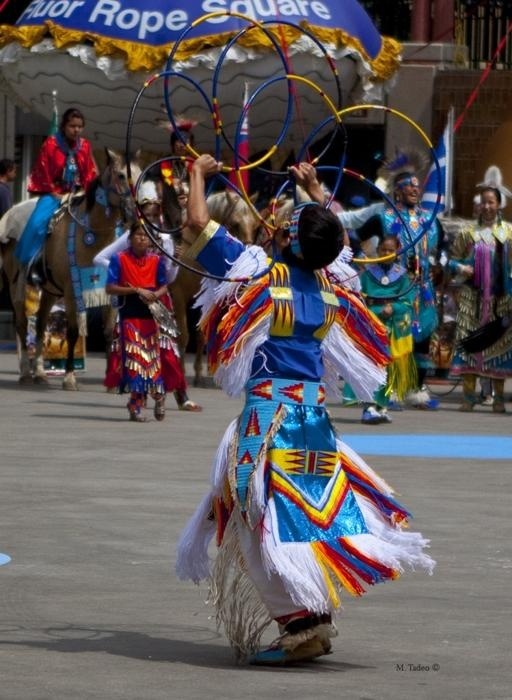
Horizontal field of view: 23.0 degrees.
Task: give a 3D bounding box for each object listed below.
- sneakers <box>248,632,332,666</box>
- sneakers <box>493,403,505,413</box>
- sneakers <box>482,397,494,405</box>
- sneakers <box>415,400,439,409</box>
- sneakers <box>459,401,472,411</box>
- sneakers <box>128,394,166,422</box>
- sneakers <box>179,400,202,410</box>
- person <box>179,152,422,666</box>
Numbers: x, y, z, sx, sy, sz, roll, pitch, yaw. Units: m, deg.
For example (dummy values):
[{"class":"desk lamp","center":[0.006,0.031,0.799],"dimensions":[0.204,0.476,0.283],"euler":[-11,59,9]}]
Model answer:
[{"class":"sneakers","center":[0.111,0.904,3.762],"dimensions":[0.256,0.094,0.099],"euler":[-12,-15,2]},{"class":"sneakers","center":[2.233,0.536,11.539],"dimensions":[0.054,0.094,0.148],"euler":[2,6,15]},{"class":"sneakers","center":[2.285,0.507,12.366],"dimensions":[0.053,0.091,0.148],"euler":[1,-9,25]},{"class":"sneakers","center":[1.573,0.500,11.549],"dimensions":[0.147,0.047,0.107],"euler":[4,3,36]},{"class":"sneakers","center":[1.927,0.509,11.443],"dimensions":[0.125,0.104,0.069],"euler":[5,7,16]},{"class":"sneakers","center":[-0.833,0.441,9.684],"dimensions":[0.282,0.214,0.247],"euler":[-8,5,-10]},{"class":"sneakers","center":[-0.551,0.459,10.512],"dimensions":[0.168,0.060,0.082],"euler":[-2,3,15]},{"class":"person","center":[0.153,0.179,3.878],"dimensions":[0.772,1.582,0.766],"euler":[2,4,-6]}]
